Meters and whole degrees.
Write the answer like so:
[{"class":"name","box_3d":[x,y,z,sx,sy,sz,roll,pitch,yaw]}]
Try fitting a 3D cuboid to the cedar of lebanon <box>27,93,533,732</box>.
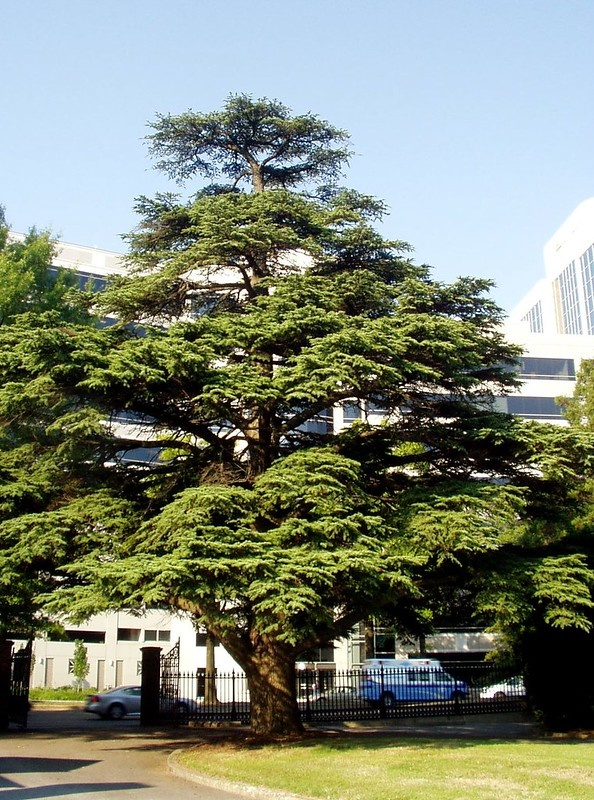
[{"class":"cedar of lebanon","box_3d":[-0.223,-0.742,17.578,7.729,14.777,6.301,-4,-16,7]}]
